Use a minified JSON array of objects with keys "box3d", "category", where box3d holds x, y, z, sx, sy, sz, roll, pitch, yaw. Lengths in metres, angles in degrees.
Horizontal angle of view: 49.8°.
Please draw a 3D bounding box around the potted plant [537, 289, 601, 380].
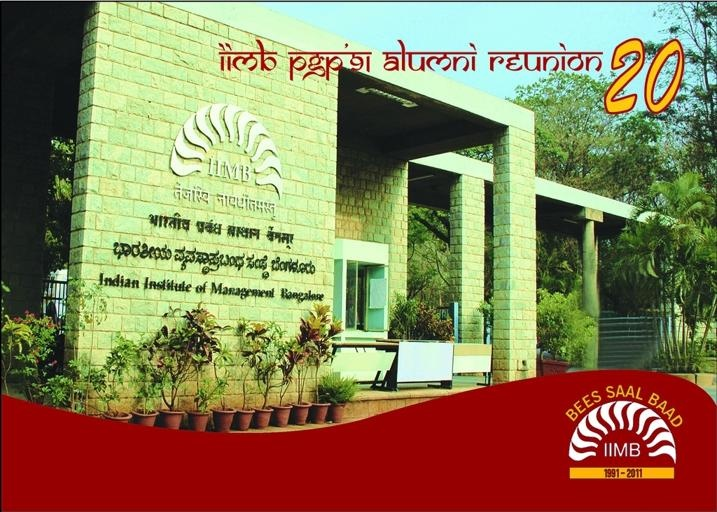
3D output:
[{"box3d":[4.959,1.751,18.459,1.773,1.886,0.894,9,-14,-27],"category":"potted plant"}]
